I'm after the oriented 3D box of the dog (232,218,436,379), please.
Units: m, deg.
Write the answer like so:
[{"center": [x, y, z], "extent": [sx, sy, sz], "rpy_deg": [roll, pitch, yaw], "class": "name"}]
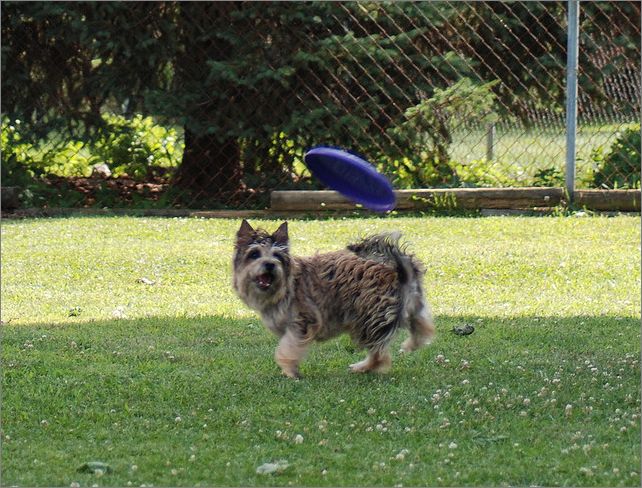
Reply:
[{"center": [0.142, 0.593, 10.865], "extent": [1.960, 1.548, 0.972], "rpy_deg": [-2, 2, -13], "class": "dog"}]
